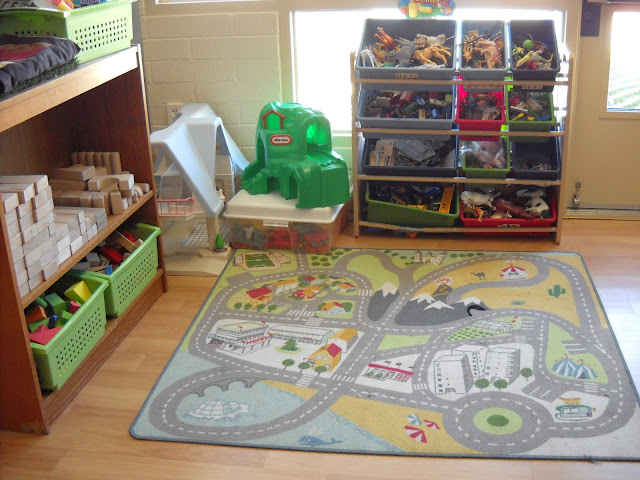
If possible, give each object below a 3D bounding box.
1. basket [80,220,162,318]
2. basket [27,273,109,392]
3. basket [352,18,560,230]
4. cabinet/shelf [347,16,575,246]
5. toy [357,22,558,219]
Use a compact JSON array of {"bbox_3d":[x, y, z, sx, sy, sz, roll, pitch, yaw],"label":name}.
[{"bbox_3d":[-0.901,0.115,2.445,0.256,0.181,0.416,8,27,13],"label":"basket"},{"bbox_3d":[-1.031,0.358,2.069,0.260,0.177,0.423,14,38,3],"label":"basket"},{"bbox_3d":[0.807,-0.691,2.935,1.276,1.185,0.452,0,34,5],"label":"basket"},{"bbox_3d":[0.830,-0.641,2.947,1.393,1.296,0.525,0,36,7],"label":"cabinet/shelf"},{"bbox_3d":[0.798,-0.691,3.021,1.179,1.183,0.482,0,21,7],"label":"toy"}]
